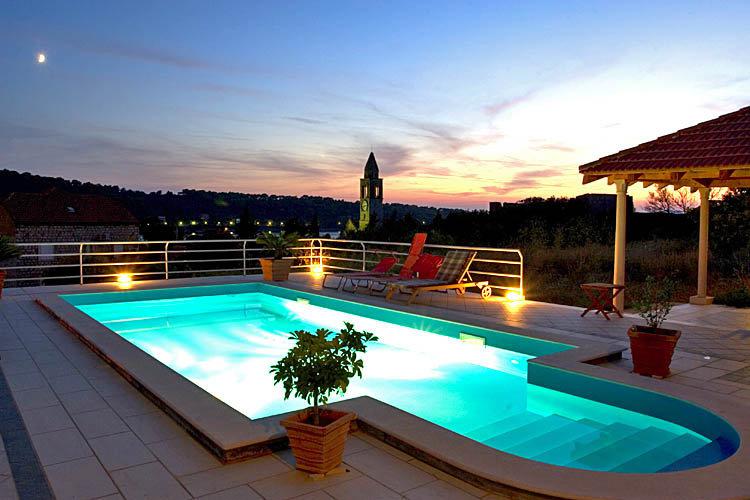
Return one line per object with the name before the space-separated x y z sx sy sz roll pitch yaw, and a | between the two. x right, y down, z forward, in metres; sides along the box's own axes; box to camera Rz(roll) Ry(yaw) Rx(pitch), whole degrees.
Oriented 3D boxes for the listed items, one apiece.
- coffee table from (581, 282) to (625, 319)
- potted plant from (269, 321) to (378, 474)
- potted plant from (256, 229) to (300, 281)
coffee table | 4.264 1.073 7.633 0.434 0.506 0.533 16 24 42
potted plant | -0.428 1.120 3.186 0.696 1.118 0.578 -2 4 -13
potted plant | -2.758 0.194 11.889 1.355 1.283 1.312 1 -1 -32
